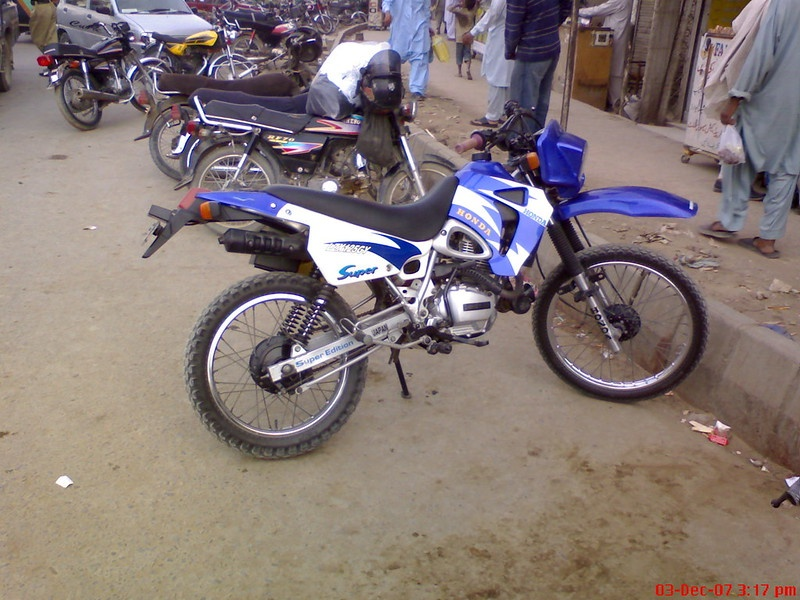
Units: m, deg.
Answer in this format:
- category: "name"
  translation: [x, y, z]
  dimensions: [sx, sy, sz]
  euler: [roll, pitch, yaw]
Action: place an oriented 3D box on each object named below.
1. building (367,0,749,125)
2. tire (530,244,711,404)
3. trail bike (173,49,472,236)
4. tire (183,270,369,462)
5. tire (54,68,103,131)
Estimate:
- category: "building"
  translation: [2.382, -3.263, 9.063]
  dimensions: [2.985, 1.028, 5.156]
  euler: [-7, 18, -35]
- category: "tire"
  translation: [1.407, 0.156, 4.169]
  dimensions: [1.248, 1.007, 0.171]
  euler: [21, -8, -18]
- category: "trail bike"
  translation: [-0.707, -1.383, 5.940]
  dimensions: [2.931, 1.348, 1.204]
  euler: [-10, 20, -34]
- category: "tire"
  translation: [-0.647, 0.384, 3.606]
  dimensions: [1.221, 0.951, 0.247]
  euler: [-10, -10, 28]
- category: "tire"
  translation: [-4.622, -2.865, 9.347]
  dimensions: [0.298, 0.724, 0.838]
  euler: [-17, 20, -5]
